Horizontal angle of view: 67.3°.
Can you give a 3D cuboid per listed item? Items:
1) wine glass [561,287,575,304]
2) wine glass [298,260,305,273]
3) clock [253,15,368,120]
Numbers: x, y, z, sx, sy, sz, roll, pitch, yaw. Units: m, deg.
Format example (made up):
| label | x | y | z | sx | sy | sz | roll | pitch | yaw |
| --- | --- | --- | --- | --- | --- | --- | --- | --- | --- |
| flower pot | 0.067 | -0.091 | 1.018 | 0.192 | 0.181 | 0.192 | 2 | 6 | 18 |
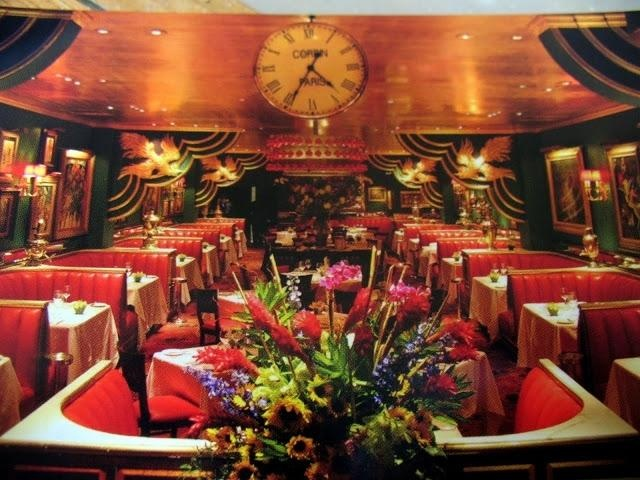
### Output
| label | x | y | z | sx | sy | sz | roll | pitch | yaw |
| --- | --- | --- | --- | --- | --- | --- | --- | --- | --- |
| wine glass | 2.603 | 0.582 | 5.040 | 0.104 | 0.211 | 0.214 | -2 | 10 | 29 |
| wine glass | -0.300 | 0.423 | 7.673 | 0.116 | 0.244 | 0.123 | -3 | 3 | -26 |
| clock | -0.080 | -1.407 | 3.966 | 0.971 | 0.727 | 0.078 | -5 | 18 | -17 |
